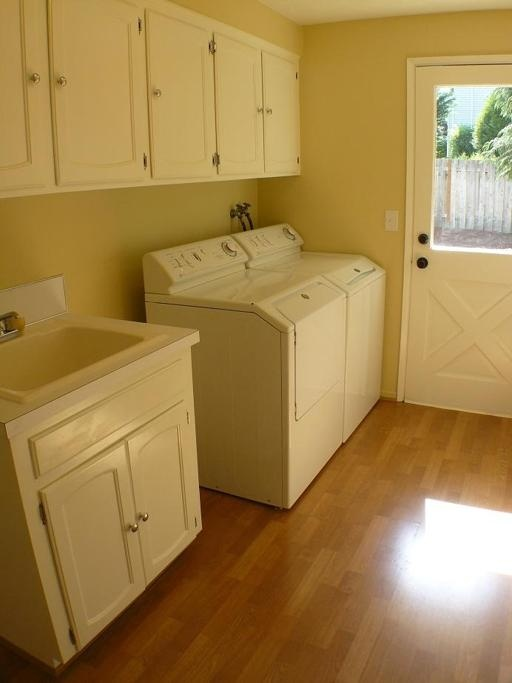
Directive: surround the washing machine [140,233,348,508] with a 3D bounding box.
[{"bbox_3d":[-0.049,0.153,2.057,0.437,1.004,0.882,4,16,20],"label":"washing machine"}]
